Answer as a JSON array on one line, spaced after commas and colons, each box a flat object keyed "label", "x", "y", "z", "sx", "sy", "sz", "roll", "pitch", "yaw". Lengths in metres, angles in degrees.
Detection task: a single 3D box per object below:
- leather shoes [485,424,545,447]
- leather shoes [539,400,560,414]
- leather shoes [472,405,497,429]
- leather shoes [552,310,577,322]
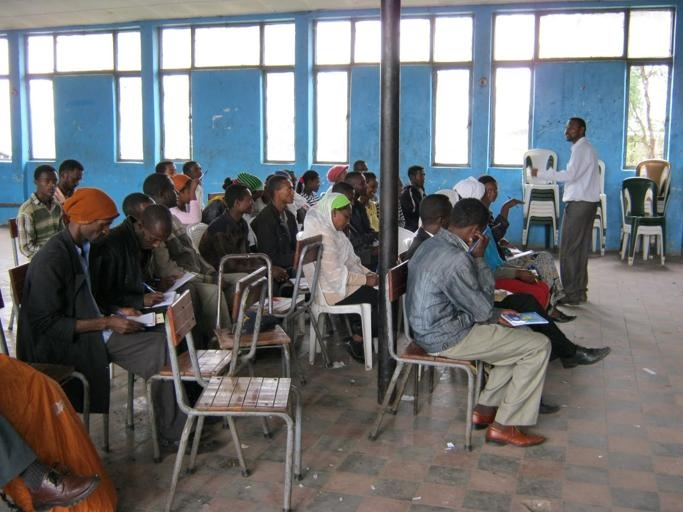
[{"label": "leather shoes", "x": 1.030, "y": 1.087, "z": 3.367, "sx": 0.387, "sy": 0.163, "sz": 0.131, "roll": -1, "pitch": 5, "yaw": 0}, {"label": "leather shoes", "x": 1.383, "y": 1.015, "z": 3.697, "sx": 0.174, "sy": 0.070, "sz": 0.063, "roll": -3, "pitch": 11, "yaw": 18}, {"label": "leather shoes", "x": 0.895, "y": 1.014, "z": 3.515, "sx": 0.097, "sy": 0.109, "sz": 0.247, "roll": 5, "pitch": 12, "yaw": 40}, {"label": "leather shoes", "x": 2.297, "y": 0.623, "z": 5.596, "sx": 0.322, "sy": 0.093, "sz": 0.117, "roll": 1, "pitch": 13, "yaw": 16}]
